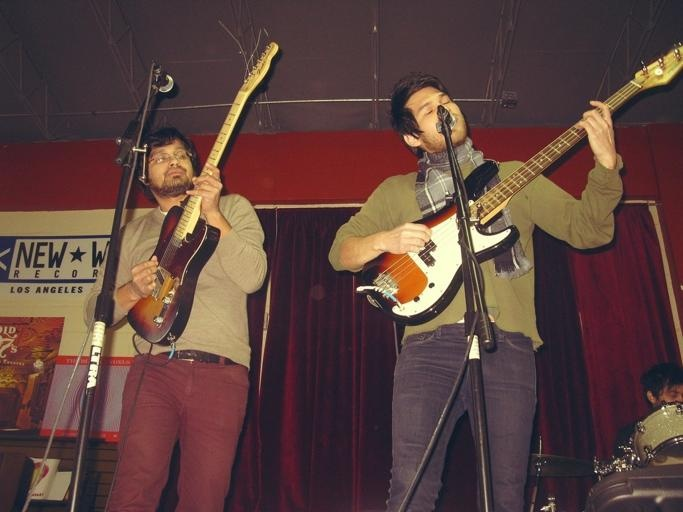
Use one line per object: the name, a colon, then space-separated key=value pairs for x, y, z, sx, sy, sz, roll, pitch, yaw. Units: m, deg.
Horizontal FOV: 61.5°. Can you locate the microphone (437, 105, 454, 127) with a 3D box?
microphone: x=0.579 y=-0.781 z=3.193 sx=0.079 sy=0.124 sz=0.030 roll=-23 pitch=8 yaw=-6
